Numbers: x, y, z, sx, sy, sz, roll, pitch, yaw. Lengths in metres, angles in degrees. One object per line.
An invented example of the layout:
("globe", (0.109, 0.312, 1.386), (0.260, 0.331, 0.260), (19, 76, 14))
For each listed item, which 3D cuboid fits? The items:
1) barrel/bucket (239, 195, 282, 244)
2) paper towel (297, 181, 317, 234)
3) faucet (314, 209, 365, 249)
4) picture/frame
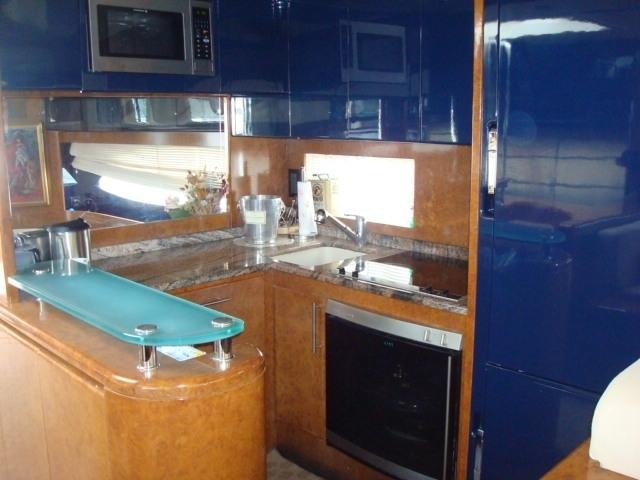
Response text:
("barrel/bucket", (-0.383, -0.121, 3.329), (0.291, 0.283, 0.301), (-2, 8, 0))
("paper towel", (-0.068, -0.198, 3.304), (0.161, 0.342, 0.033), (-2, 4, 9))
("faucet", (0.125, -0.080, 3.177), (0.304, 0.239, 0.132), (-1, 14, -2))
("picture/frame", (-1.542, -0.392, 2.748), (0.197, 0.416, 0.087), (-9, 17, -31))
